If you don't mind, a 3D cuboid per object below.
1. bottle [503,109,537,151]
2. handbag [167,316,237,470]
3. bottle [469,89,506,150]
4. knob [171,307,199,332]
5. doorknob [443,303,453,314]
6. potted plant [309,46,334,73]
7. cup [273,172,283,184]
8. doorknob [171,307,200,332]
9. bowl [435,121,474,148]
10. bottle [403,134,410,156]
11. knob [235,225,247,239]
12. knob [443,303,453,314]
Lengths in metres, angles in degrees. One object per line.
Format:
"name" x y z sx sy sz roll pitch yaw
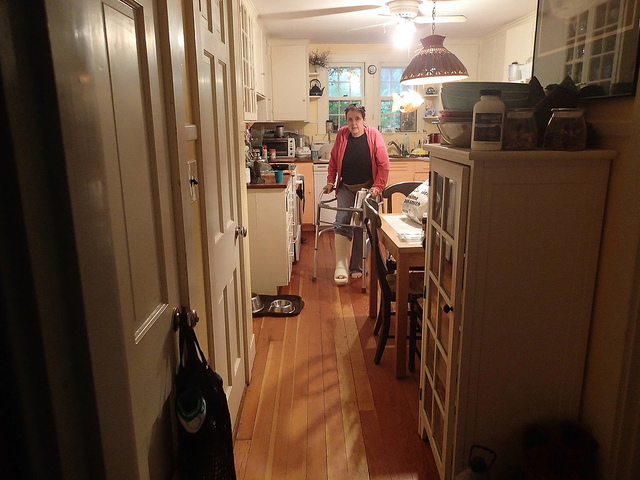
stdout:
"bottle" 0.625 -0.337 1.577 0.113 0.133 0.093 2 13 22
"handbag" -0.320 0.442 1.358 0.139 0.448 0.125 -3 12 -10
"bottle" 0.524 -0.360 1.569 0.096 0.148 0.064 4 13 21
"knob" -0.366 0.220 1.372 0.061 0.076 0.051 0 -3 0
"doorknob" 0.449 0.240 1.751 0.022 0.029 0.044 0 -8 4
"potted plant" 0.011 -2.400 6.659 0.270 0.394 0.311 0 13 -2
"cup" -0.319 -0.466 3.871 0.079 0.104 0.086 -1 -8 0
"doorknob" -0.369 0.218 1.371 0.061 0.075 0.052 0 20 5
"bowl" 0.473 -0.380 1.749 0.089 0.039 0.098 -1 17 0
"bottle" 1.171 -1.295 6.835 0.088 0.268 0.244 1 13 9
"knob" -0.395 -0.041 2.521 0.037 0.083 0.050 -1 5 4
"knob" 0.448 0.236 1.752 0.020 0.027 0.040 2 -3 1
